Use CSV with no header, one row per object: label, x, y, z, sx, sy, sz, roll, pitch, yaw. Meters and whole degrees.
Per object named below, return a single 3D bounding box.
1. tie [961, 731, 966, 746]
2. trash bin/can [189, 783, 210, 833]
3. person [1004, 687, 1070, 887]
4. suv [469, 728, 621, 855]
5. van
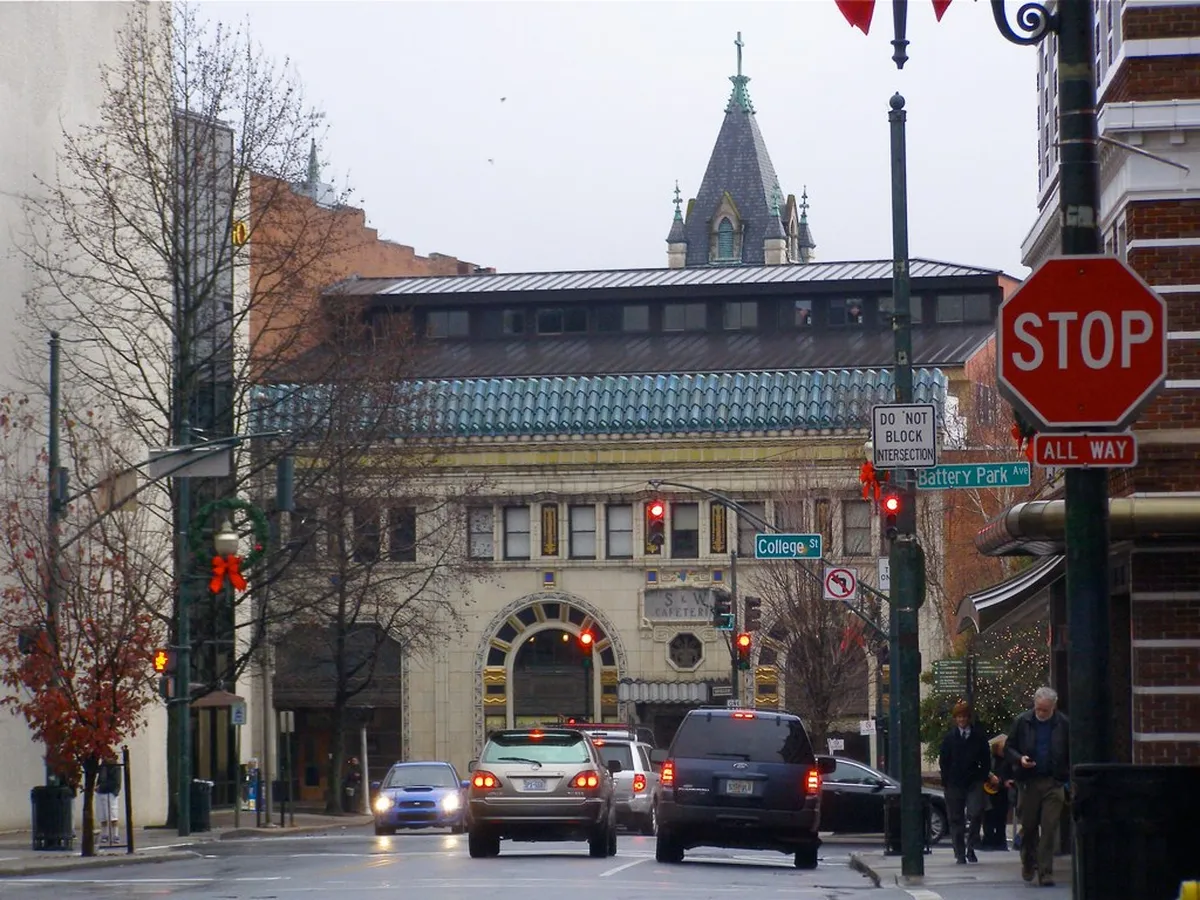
tie,6.191,4.744,57.353,0.102,0.140,0.031,-2,-12,3
trash bin/can,-8.554,7.558,72.833,0.379,1.063,0.702,1,-13,-9
person,6.992,5.306,53.695,0.831,3.194,1.373,2,-13,-15
suv,-0.951,5.827,58.727,2.063,2.347,3.156,-3,-12,7
van,2.397,5.497,57.890,2.601,2.239,0.750,0,-12,-4
